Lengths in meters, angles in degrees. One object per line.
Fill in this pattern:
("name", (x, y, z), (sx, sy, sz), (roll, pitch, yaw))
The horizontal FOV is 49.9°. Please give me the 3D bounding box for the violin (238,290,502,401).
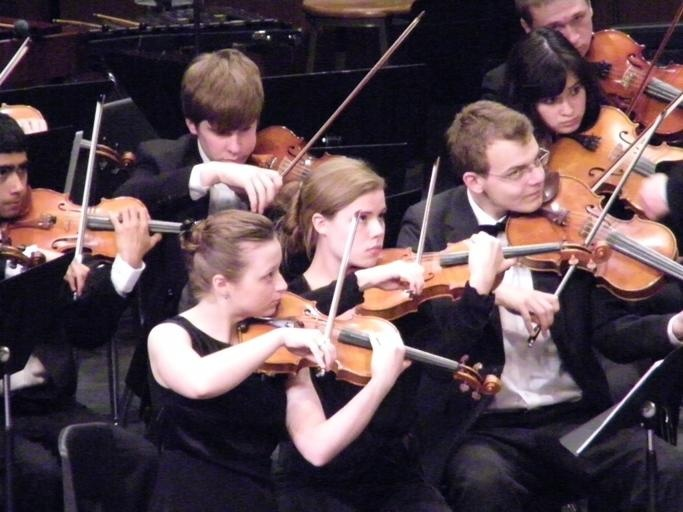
("violin", (0.018, 0.272, 1.796), (0.676, 0.105, 0.233), (18, 43, 2))
